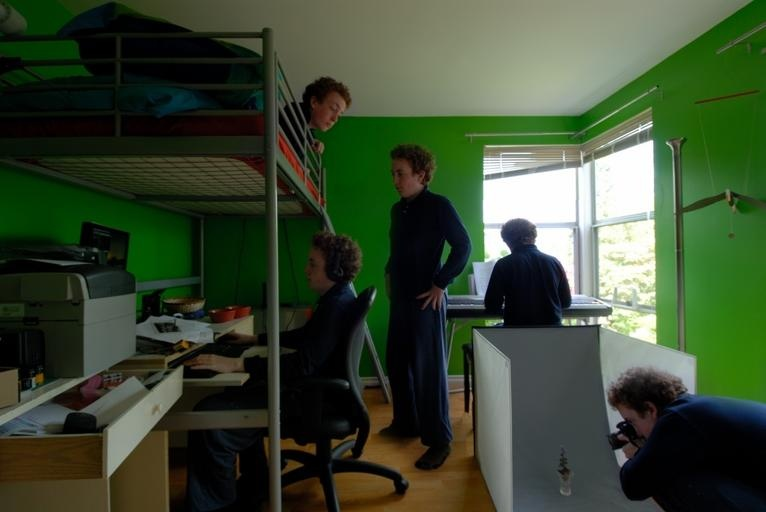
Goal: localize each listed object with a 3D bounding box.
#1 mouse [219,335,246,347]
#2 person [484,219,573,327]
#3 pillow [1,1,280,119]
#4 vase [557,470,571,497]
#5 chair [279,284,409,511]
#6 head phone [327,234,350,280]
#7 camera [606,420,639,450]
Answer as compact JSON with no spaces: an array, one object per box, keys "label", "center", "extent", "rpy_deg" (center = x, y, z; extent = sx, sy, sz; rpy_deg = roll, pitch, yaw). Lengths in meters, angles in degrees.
[{"label":"mouse","center":[-0.906,0.526,3.709],"extent":[0.137,0.032,0.076],"rpy_deg":[2,-1,-1]},{"label":"person","center":[0.999,0.146,4.239],"extent":[0.595,0.814,0.495],"rpy_deg":[-2,-3,-8]},{"label":"pillow","center":[-1.158,-0.925,2.965],"extent":[0.956,0.678,0.268],"rpy_deg":[2,-1,-8]},{"label":"vase","center":[1.040,1.287,3.443],"extent":[0.071,0.141,0.066],"rpy_deg":[-2,0,13]},{"label":"chair","center":[-0.276,0.845,3.978],"extent":[1.148,1.439,1.252],"rpy_deg":[1,-7,-6]},{"label":"head phone","center":[-0.258,0.018,3.442],"extent":[0.100,0.258,0.236],"rpy_deg":[2,-5,3]},{"label":"camera","center":[1.271,0.965,3.266],"extent":[0.167,0.153,0.153],"rpy_deg":[4,2,5]}]
